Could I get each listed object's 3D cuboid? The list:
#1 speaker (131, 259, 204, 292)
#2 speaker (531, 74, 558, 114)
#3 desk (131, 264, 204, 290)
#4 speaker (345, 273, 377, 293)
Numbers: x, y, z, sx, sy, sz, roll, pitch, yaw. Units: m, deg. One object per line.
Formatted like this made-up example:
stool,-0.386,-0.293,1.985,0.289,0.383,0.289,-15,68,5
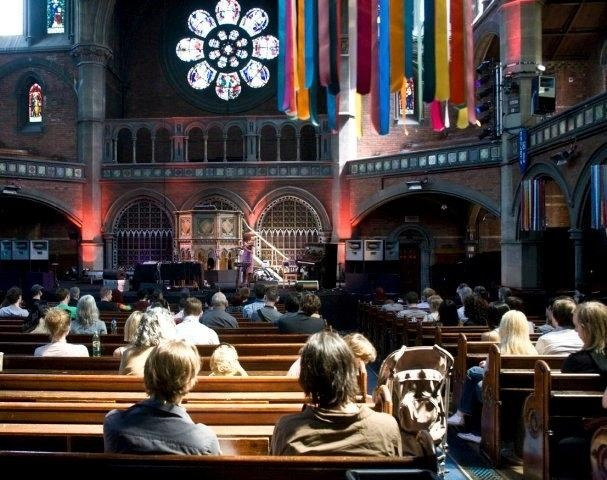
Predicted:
speaker,-4.317,1.078,32.004,1.402,0.661,1.158,0,-5,-2
speaker,6.880,-4.179,28.508,0.690,0.968,0.705,0,-1,19
desk,-4.332,1.098,32.000,2.340,0.780,0.985,4,1,-9
speaker,1.770,1.355,31.127,0.541,0.659,0.999,9,-11,-39
